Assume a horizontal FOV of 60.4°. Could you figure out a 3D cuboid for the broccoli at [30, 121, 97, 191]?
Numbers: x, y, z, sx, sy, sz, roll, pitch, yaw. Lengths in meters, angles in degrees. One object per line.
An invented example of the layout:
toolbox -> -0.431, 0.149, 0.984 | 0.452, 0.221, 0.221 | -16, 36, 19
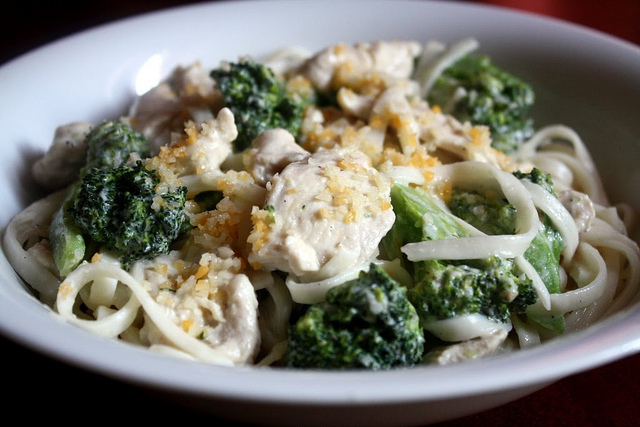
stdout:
broccoli -> -1.444, -0.407, 3.239 | 0.296, 0.263, 0.148 | 33, 70, 0
